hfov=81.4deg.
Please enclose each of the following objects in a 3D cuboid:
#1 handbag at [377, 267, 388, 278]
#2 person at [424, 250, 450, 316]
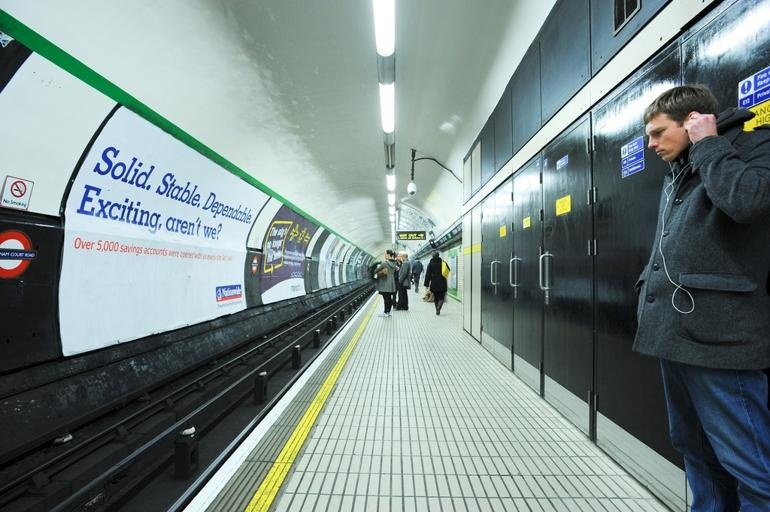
[{"bbox_3d":[-0.056,0.423,11.611,0.250,0.272,0.116,-1,2,39],"label":"handbag"},{"bbox_3d":[1.444,0.758,12.569,0.586,1.942,1.291,2,10,5],"label":"person"}]
